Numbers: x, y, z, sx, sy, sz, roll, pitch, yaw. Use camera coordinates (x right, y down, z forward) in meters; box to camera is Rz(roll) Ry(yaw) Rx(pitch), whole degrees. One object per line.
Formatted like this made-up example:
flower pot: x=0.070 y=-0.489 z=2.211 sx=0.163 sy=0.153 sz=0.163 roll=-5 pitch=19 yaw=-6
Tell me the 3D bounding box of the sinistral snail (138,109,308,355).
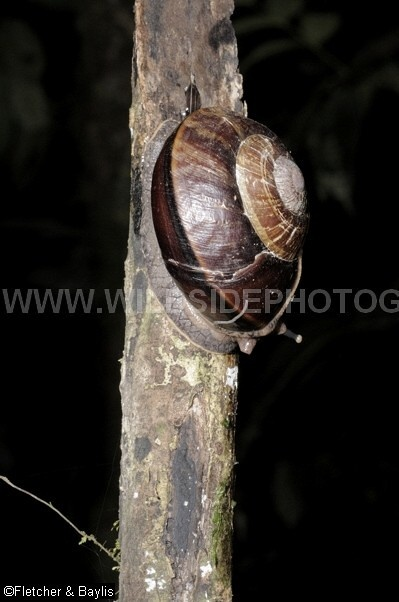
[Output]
sinistral snail: x=0.067 y=-0.191 z=2.283 sx=0.253 sy=0.646 sz=0.363 roll=1 pitch=10 yaw=35
